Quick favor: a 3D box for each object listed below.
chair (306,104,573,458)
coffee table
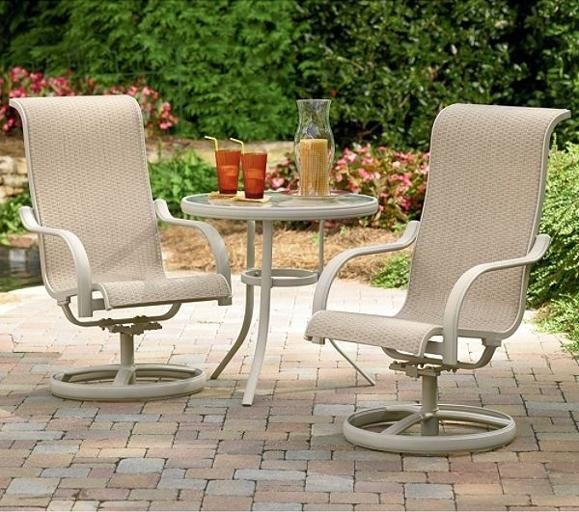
[{"bbox_3d":[0.631,0.057,2.975,0.774,1.414,1.161,7,14,31],"label":"chair"},{"bbox_3d":[-0.077,0.167,3.659,1.589,0.853,1.129,2,0,0],"label":"coffee table"}]
